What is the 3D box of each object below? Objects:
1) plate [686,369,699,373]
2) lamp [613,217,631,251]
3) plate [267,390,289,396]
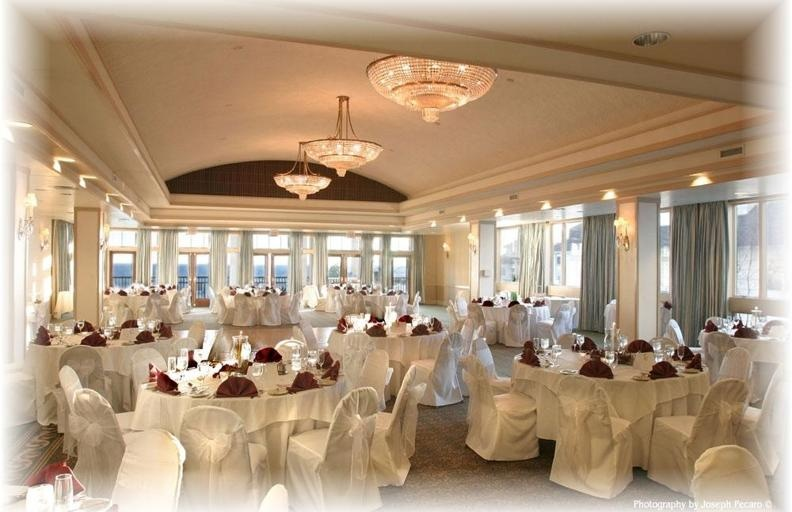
[{"bbox_3d":[3.473,1.342,6.115,0.165,0.011,0.113,2,8,8],"label":"plate"},{"bbox_3d":[4.462,-0.444,10.258,0.125,0.670,0.324,-4,11,-22],"label":"lamp"},{"bbox_3d":[-1.223,1.400,5.367,0.211,0.020,0.120,0,8,-1],"label":"plate"}]
